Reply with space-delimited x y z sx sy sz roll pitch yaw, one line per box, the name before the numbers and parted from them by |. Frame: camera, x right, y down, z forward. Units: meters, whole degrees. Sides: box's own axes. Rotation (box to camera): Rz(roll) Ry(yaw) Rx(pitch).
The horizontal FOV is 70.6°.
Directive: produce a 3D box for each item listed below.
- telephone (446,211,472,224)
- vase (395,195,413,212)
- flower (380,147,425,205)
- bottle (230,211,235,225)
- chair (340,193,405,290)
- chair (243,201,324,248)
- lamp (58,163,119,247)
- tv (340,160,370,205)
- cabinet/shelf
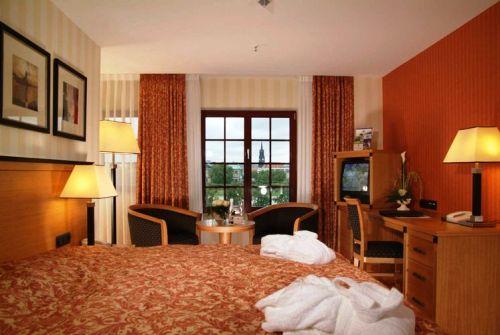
telephone | 2.576 0.608 4.320 0.214 0.064 0.154 -2 2 -19
vase | 2.318 0.553 5.356 0.241 0.179 0.247 0 3 32
flower | 2.423 0.209 5.511 0.512 0.823 0.443 -5 3 7
bottle | -0.255 0.769 5.417 0.067 0.175 0.124 -1 -1 3
chair | 1.804 1.112 4.975 0.928 1.247 0.899 2 1 -14
chair | 0.538 1.114 5.692 1.010 1.144 1.021 2 -6 10
lamp | -1.891 0.453 4.125 0.499 0.960 0.439 -1 -1 19
tv | 1.803 0.254 5.986 0.524 0.731 0.395 -1 -16 27
cabinet/shelf | 2.007 0.231 6.031 0.827 0.965 1.030 1 -2 -29
